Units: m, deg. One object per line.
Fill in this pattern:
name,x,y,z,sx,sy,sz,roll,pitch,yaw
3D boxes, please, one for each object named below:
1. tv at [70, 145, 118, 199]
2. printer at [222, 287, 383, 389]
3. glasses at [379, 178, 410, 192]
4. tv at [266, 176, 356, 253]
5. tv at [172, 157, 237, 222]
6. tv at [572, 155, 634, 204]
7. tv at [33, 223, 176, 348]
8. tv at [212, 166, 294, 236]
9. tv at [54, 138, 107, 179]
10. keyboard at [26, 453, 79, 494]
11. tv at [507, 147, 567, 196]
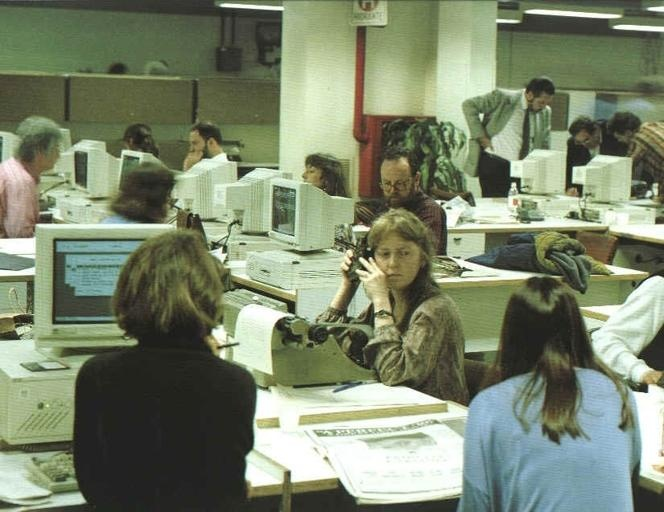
tv,-1.723,-0.628,5.833,0.319,0.338,0.544,-2,10,-32
printer,-0.077,0.271,2.533,0.407,0.199,0.378,-4,8,-21
glasses,0.337,-0.383,4.315,0.178,0.058,0.082,5,7,40
tv,-0.146,-0.201,3.759,0.426,0.309,0.374,-3,9,-19
tv,-0.804,-0.402,5.130,0.232,0.275,0.371,15,1,-25
tv,1.974,-0.564,5.743,0.341,0.303,0.405,-4,12,-15
tv,-0.656,0.085,2.202,0.493,0.335,0.234,0,3,-12
tv,-0.485,-0.289,4.425,0.383,0.295,0.344,1,2,-38
tv,-1.883,-0.707,5.981,0.420,0.315,0.372,0,4,-30
keyboard,-0.767,0.596,2.145,0.129,0.034,0.169,-5,11,-31
tv,1.595,-0.614,5.939,0.431,0.301,0.427,0,4,23
